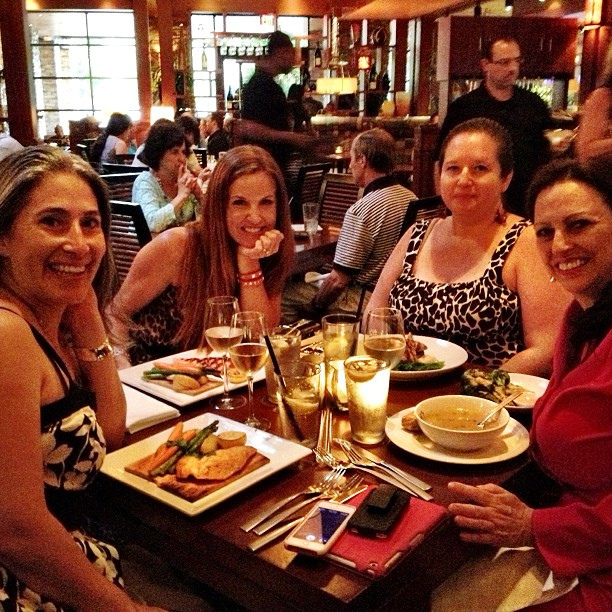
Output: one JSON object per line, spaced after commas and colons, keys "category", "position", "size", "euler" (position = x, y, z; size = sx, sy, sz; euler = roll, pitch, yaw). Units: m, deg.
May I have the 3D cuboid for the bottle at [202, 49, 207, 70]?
{"category": "bottle", "position": [-2.537, -6.093, 13.075], "size": [0.151, 0.461, 0.169], "euler": [2, 14, 9]}

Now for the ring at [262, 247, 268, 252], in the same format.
{"category": "ring", "position": [-0.159, -0.219, 2.023], "size": [0.019, 0.018, 0.024], "euler": [0, -1, 2]}

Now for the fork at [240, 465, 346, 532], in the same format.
{"category": "fork", "position": [-0.027, 0.336, 0.919], "size": [0.020, 0.021, 0.147], "euler": [18, 26, 39]}

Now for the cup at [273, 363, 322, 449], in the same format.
{"category": "cup", "position": [-0.014, 0.222, 1.187], "size": [0.105, 0.171, 0.107], "euler": [-3, 15, 1]}

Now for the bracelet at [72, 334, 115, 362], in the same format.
{"category": "bracelet", "position": [-0.522, 0.107, 1.326], "size": [0.067, 0.037, 0.056], "euler": [-2, 4, 31]}

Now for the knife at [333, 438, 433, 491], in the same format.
{"category": "knife", "position": [0.153, 0.315, 1.049], "size": [0.019, 0.015, 0.171], "euler": [-13, 24, -34]}

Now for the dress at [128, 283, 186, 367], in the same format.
{"category": "dress", "position": [-0.574, 0.074, 2.048], "size": [0.278, 0.302, 0.186], "euler": [1, 14, 8]}

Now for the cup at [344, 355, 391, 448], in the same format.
{"category": "cup", "position": [0.130, 0.204, 1.168], "size": [0.095, 0.191, 0.134], "euler": [1, 14, 8]}

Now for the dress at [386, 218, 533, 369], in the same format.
{"category": "dress", "position": [0.598, -0.080, 2.160], "size": [0.550, 0.535, 0.336], "euler": [5, 15, 22]}

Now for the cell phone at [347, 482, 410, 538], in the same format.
{"category": "cell phone", "position": [0.121, 0.329, 0.870], "size": [0.074, 0.032, 0.135], "euler": [2, 11, 31]}

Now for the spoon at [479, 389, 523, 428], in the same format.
{"category": "spoon", "position": [0.448, 0.238, 1.229], "size": [0.099, 0.015, 0.020], "euler": [-37, 39, -24]}

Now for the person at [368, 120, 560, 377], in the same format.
{"category": "person", "position": [0.617, -0.216, 2.154], "size": [0.614, 1.036, 0.781], "euler": [-16, 19, -39]}
